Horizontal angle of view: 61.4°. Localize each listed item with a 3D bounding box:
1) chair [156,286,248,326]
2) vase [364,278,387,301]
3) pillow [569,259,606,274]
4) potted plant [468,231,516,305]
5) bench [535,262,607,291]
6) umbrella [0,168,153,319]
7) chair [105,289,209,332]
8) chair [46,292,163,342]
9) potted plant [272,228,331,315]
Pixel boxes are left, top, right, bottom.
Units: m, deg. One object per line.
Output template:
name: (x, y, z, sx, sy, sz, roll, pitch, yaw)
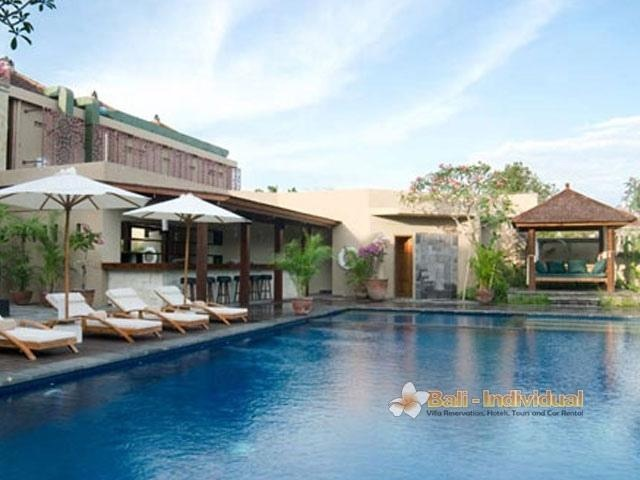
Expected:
chair: (-3.030, 1.514, 12.798, 1.549, 0.537, 0.794, 9, 6, 21)
vase: (2.207, 1.938, 21.219, 0.841, 0.655, 0.822, 3, -10, -22)
pillow: (10.004, 1.032, 20.563, 0.897, 0.399, 0.927, -2, -7, 15)
potted plant: (6.523, 1.036, 20.579, 1.635, 2.348, 3.673, 2, 2, 20)
bench: (9.469, 1.303, 20.331, 2.723, 1.203, 3.851, 2, 2, 27)
umbrella: (-6.702, 0.147, 14.852, 3.826, 3.487, 3.993, -5, -6, 26)
chair: (-3.690, 1.597, 12.224, 2.082, 0.830, 1.096, 0, -4, 21)
chair: (-4.397, 1.586, 10.960, 2.182, 0.880, 1.074, -1, -5, 20)
potted plant: (-0.442, 0.995, 16.489, 2.412, 2.969, 2.250, -1, -10, 7)
